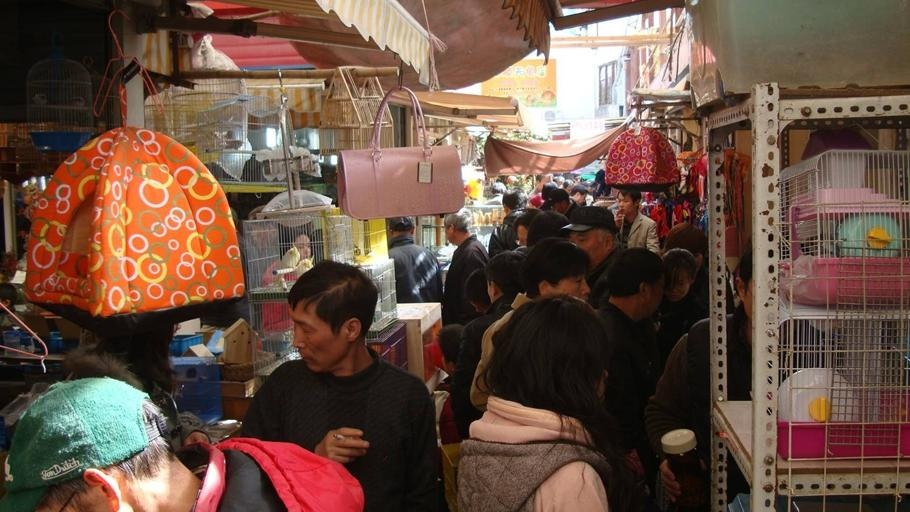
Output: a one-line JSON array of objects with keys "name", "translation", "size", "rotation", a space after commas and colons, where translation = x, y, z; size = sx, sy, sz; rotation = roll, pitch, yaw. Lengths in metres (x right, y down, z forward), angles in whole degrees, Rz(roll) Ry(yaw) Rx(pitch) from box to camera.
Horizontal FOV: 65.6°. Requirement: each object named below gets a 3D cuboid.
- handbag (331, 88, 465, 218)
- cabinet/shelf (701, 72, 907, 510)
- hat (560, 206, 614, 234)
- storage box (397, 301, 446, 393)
[{"name": "handbag", "translation": [-0.351, -0.618, 4.291], "size": [0.764, 0.720, 0.259], "rotation": [-7, 19, -29]}, {"name": "cabinet/shelf", "translation": [1.497, 0.283, 3.237], "size": [0.597, 1.405, 0.611], "rotation": [2, 2, 0]}, {"name": "hat", "translation": [1.091, -0.302, 5.832], "size": [0.325, 0.153, 0.234], "rotation": [3, -3, -20]}, {"name": "storage box", "translation": [-0.397, 0.792, 6.005], "size": [0.431, 0.632, 0.773], "rotation": [-1, 4, 9]}]
